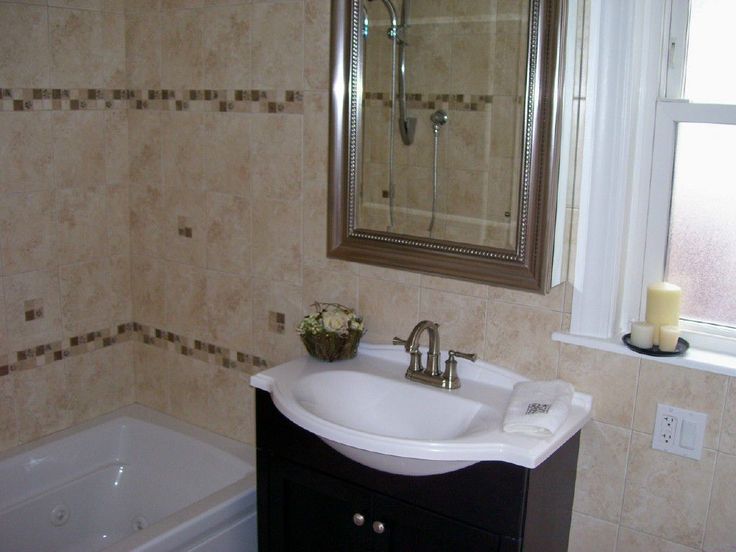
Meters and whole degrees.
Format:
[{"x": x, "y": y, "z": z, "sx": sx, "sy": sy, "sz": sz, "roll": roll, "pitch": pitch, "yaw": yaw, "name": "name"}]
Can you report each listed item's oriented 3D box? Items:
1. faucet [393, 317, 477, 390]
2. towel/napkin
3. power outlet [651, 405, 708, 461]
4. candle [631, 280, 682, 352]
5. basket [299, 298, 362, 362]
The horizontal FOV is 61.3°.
[{"x": 0.195, "y": 0.260, "z": 2.051, "sx": 0.279, "sy": 0.244, "sz": 0.185, "roll": 8, "pitch": 14, "yaw": 34, "name": "faucet"}, {"x": 0.515, "y": 0.399, "z": 1.868, "sx": 0.200, "sy": 0.079, "sz": 0.257, "roll": -2, "pitch": 22, "yaw": 26, "name": "towel/napkin"}, {"x": 0.930, "y": 0.460, "z": 1.835, "sx": 0.150, "sy": 0.169, "sz": 0.017, "roll": 7, "pitch": 6, "yaw": 42, "name": "power outlet"}, {"x": 0.867, "y": 0.113, "z": 1.861, "sx": 0.127, "sy": 0.190, "sz": 0.153, "roll": 7, "pitch": 12, "yaw": 27, "name": "candle"}, {"x": -0.123, "y": 0.201, "z": 2.312, "sx": 0.232, "sy": 0.183, "sz": 0.271, "roll": -4, "pitch": 21, "yaw": -14, "name": "basket"}]
